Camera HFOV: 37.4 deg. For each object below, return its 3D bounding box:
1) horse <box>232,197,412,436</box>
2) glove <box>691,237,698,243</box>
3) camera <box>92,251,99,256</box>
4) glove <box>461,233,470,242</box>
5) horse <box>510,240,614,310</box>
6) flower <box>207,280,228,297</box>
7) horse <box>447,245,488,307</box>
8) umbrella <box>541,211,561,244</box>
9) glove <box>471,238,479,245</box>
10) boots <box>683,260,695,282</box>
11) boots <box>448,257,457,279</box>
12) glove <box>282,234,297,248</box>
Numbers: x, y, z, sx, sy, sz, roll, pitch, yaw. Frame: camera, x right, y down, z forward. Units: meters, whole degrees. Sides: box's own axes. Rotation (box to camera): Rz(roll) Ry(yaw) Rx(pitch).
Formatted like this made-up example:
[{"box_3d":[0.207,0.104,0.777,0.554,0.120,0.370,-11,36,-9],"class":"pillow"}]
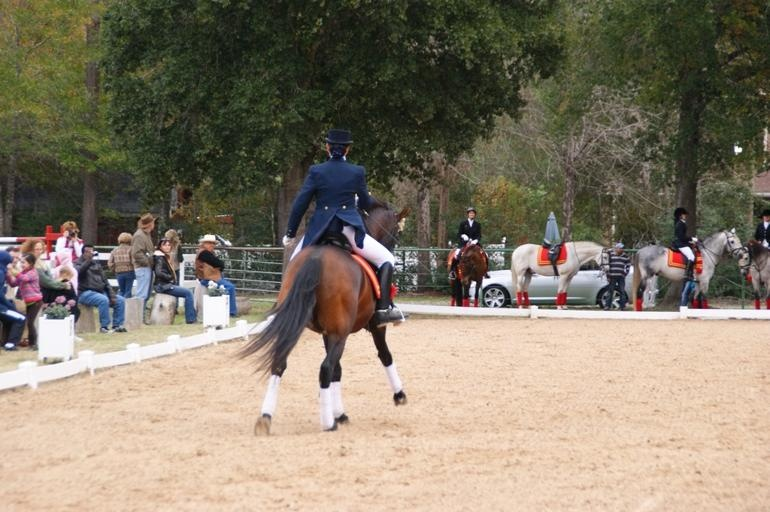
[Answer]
[{"box_3d":[-1.655,1.944,26.736,3.520,4.975,1.175,4,-1,-13],"class":"horse"},{"box_3d":[10.132,-0.519,37.455,0.180,0.100,0.236,8,15,27],"class":"glove"},{"box_3d":[-8.867,-0.064,34.885,0.140,0.040,0.148,13,-8,20],"class":"camera"},{"box_3d":[2.674,-0.603,38.126,0.256,0.237,0.094,4,-1,-26],"class":"glove"},{"box_3d":[5.910,0.627,38.945,3.385,2.535,0.908,2,5,16],"class":"horse"},{"box_3d":[-5.125,0.986,34.385,0.492,0.398,0.489,2,0,-41],"class":"flower"},{"box_3d":[2.754,0.618,38.492,1.128,2.289,1.563,0,-1,3],"class":"horse"},{"box_3d":[5.717,-0.915,39.198,0.514,1.034,0.478,-13,24,-23],"class":"umbrella"},{"box_3d":[2.957,-0.474,37.926,0.167,0.150,0.525,3,-1,24],"class":"glove"},{"box_3d":[9.949,0.434,37.257,0.357,0.632,0.333,3,-1,6],"class":"boots"},{"box_3d":[2.216,0.415,38.604,0.168,0.792,0.407,6,10,-5],"class":"boots"},{"box_3d":[-2.327,-0.351,27.358,0.223,0.268,0.261,0,-13,-4],"class":"glove"}]
